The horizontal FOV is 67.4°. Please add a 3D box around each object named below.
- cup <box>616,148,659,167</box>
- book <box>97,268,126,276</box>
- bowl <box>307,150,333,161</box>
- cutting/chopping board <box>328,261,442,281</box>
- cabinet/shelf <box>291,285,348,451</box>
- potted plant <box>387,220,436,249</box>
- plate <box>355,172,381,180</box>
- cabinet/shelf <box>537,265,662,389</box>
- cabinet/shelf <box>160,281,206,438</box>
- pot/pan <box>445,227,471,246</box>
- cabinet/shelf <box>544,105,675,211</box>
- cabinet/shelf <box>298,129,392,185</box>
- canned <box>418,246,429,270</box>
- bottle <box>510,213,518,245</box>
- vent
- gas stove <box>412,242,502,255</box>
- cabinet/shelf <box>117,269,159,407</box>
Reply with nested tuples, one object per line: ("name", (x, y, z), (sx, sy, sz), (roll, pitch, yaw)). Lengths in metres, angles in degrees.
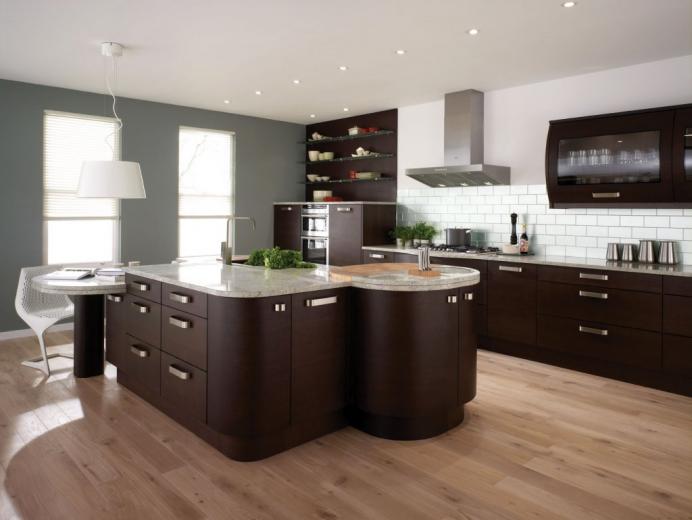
("cup", (2.750, -0.964, 4.872), (0.057, 0.132, 0.333), (-8, 14, -37))
("book", (-2.164, 0.115, 4.757), (0.166, 0.040, 0.156), (0, 1, -35))
("bowl", (-0.377, -1.594, 8.015), (0.303, 0.110, 0.188), (6, 8, 43))
("cutting/chopping board", (0.308, 0.067, 4.158), (0.861, 0.089, 0.735), (0, 11, -2))
("cabinet/shelf", (-0.188, 0.657, 3.697), (0.157, 0.878, 0.560), (11, 16, 43))
("potted plant", (0.938, -0.277, 6.770), (0.365, 0.239, 0.458), (-2, 2, -33))
("plate", (0.293, -1.219, 7.547), (0.438, 0.111, 0.128), (8, 13, 33))
("cabinet/shelf", (2.469, 0.544, 5.188), (0.835, 1.252, 1.518), (1, 0, -41))
("cabinet/shelf", (-1.202, 0.649, 3.806), (0.203, 0.903, 0.750), (-8, 14, -35))
("pot/pan", (1.379, -0.274, 6.378), (0.248, 0.175, 0.233), (1, 5, 11))
("cabinet/shelf", (2.824, -0.993, 5.288), (0.726, 0.953, 1.284), (-15, 14, -35))
("cabinet/shelf", (-0.030, -1.510, 7.766), (0.356, 0.799, 1.727), (-10, 15, -43))
("canned", (0.600, -0.010, 3.980), (0.080, 0.154, 0.070), (-2, 11, -10))
("bottle", (1.943, -0.364, 5.968), (0.103, 0.338, 0.274), (4, 12, 17))
("vent", (1.413, -1.493, 6.346), (1.150, 1.105, 0.583), (3, 5, 44))
("gas stove", (1.350, -0.133, 6.254), (1.052, 0.061, 0.612), (9, 14, 39))
("cabinet/shelf", (-1.696, 0.570, 4.259), (0.227, 0.858, 0.756), (-8, 14, -34))
